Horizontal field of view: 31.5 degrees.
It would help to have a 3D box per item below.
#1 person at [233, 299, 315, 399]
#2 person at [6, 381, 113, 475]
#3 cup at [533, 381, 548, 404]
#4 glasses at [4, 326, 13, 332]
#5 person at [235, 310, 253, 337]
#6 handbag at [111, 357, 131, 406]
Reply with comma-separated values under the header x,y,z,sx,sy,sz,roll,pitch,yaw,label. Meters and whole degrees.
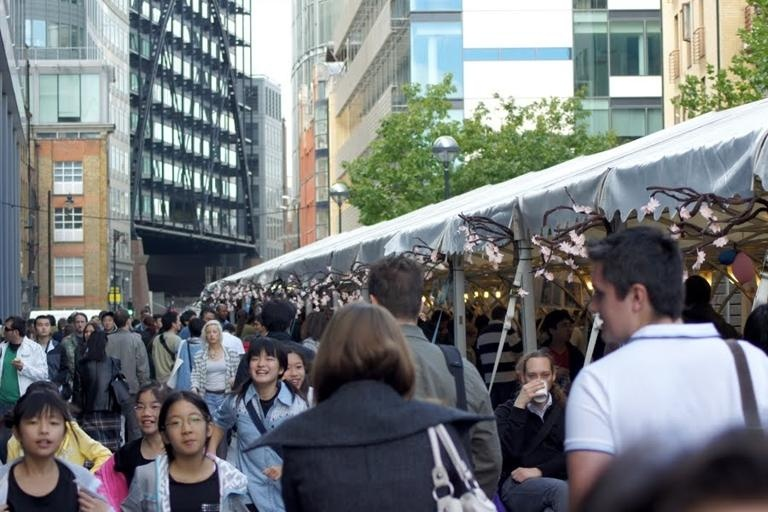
x,y,z,sx,sy,sz,roll,pitch,yaw,label
-1.819,1.548,22.838,1.062,2.393,0.853,7,-21,-34,person
-4.825,2.587,20.436,1.243,1.630,0.847,-10,14,-4,person
2.331,2.005,20.231,0.207,0.328,0.290,10,44,12,cup
-6.890,1.320,25.025,0.127,0.046,0.101,6,-8,-29,glasses
-3.533,1.627,34.373,0.660,0.740,0.296,1,2,-9,person
-4.812,2.377,24.855,0.269,0.536,0.742,-5,-41,-6,handbag
